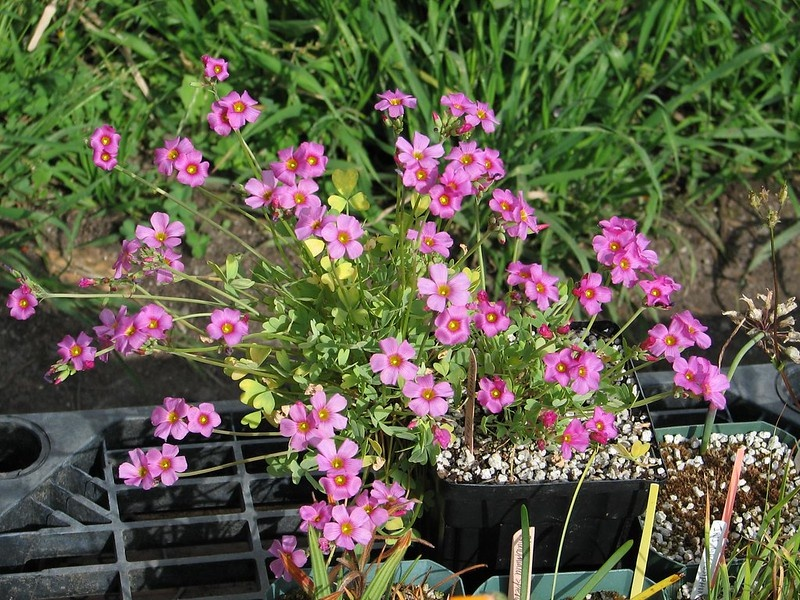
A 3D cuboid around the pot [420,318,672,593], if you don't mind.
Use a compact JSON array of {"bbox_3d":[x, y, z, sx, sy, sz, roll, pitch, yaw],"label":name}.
[{"bbox_3d":[0.385,0.538,2.266,0.637,0.462,0.572,-5,60,-8],"label":"pot"}]
